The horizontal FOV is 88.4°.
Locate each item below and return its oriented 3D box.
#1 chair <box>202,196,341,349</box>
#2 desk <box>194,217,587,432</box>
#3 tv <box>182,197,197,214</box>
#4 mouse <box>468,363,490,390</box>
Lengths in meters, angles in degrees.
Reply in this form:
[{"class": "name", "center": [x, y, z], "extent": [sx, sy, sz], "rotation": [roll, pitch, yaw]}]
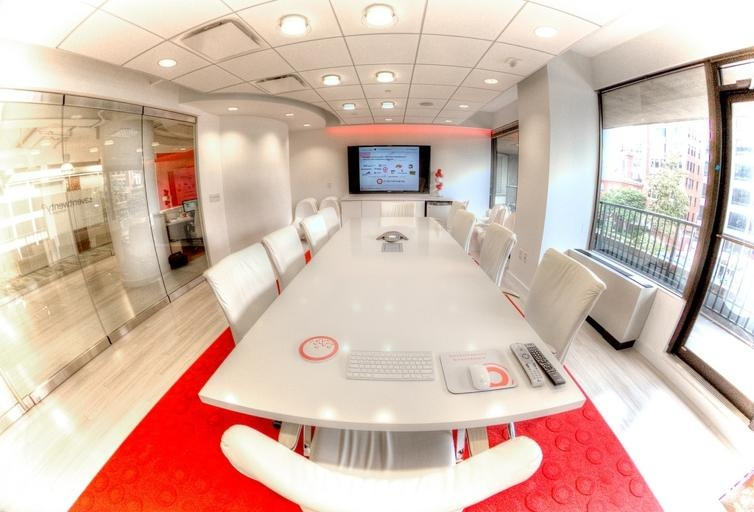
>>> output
[{"class": "chair", "center": [-1.223, 0.138, 4.210], "extent": [0.640, 0.801, 1.988], "rotation": [6, 36, 10]}, {"class": "desk", "center": [0.078, 0.640, 2.985], "extent": [2.321, 0.619, 1.319], "rotation": [2, 14, 3]}, {"class": "tv", "center": [-2.714, -0.735, 5.570], "extent": [0.065, 0.157, 0.232], "rotation": [10, 19, 12]}, {"class": "mouse", "center": [0.684, 0.807, 2.589], "extent": [0.136, 0.121, 0.111], "rotation": [2, 14, 1]}]
